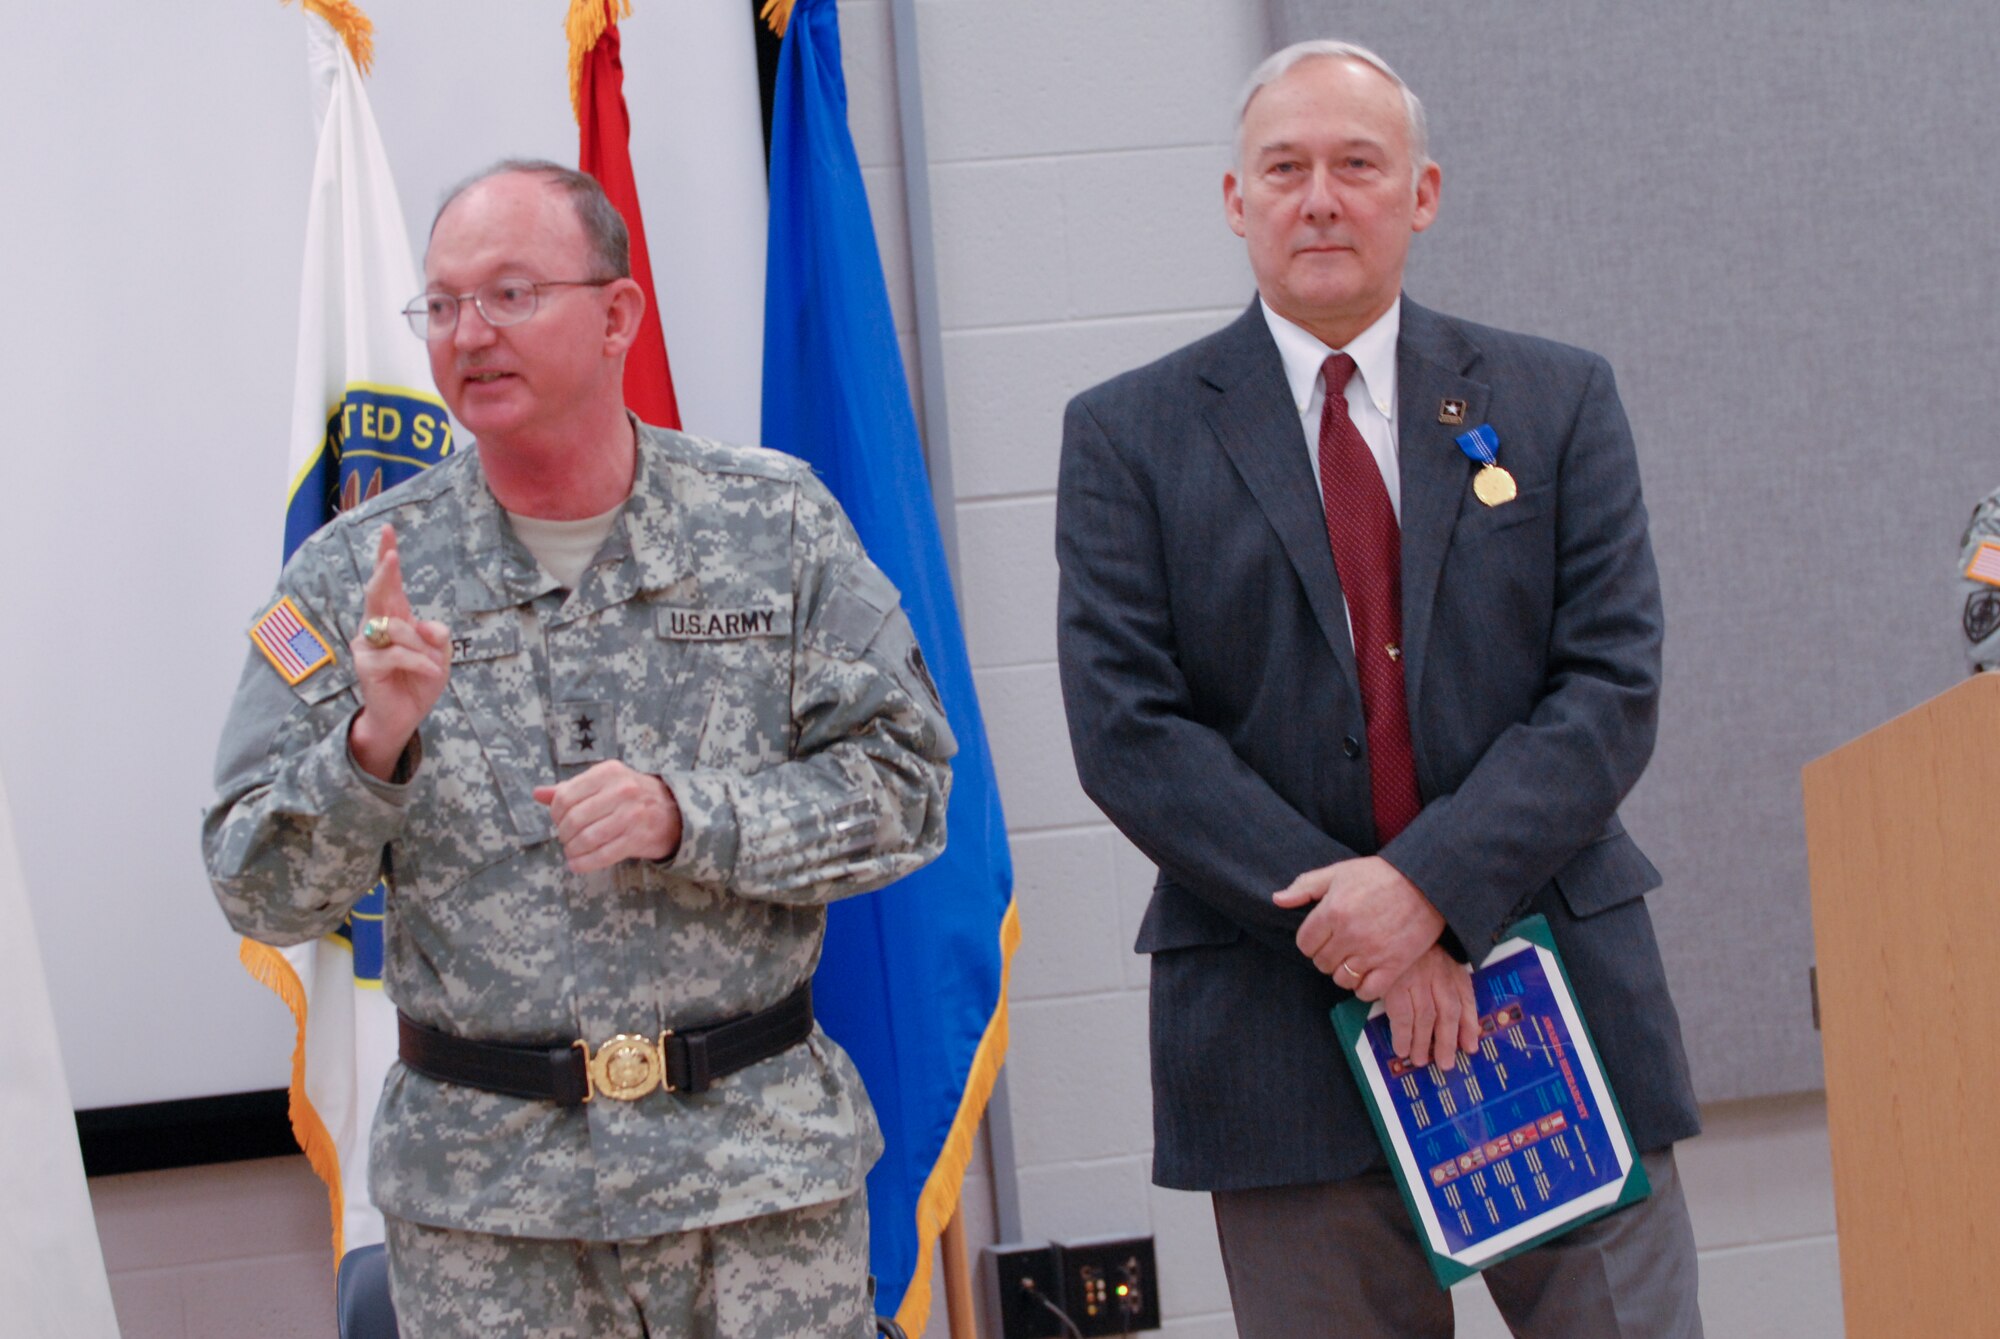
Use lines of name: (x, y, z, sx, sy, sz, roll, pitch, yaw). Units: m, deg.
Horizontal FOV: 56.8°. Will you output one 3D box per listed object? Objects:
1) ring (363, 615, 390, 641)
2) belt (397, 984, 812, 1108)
ring: (-0.726, -0.050, 2.157, 0.024, 0.025, 0.009, 2, 1, 10)
belt: (-0.481, 0.467, 2.290, 0.471, 0.157, 0.125, -8, -11, -15)
